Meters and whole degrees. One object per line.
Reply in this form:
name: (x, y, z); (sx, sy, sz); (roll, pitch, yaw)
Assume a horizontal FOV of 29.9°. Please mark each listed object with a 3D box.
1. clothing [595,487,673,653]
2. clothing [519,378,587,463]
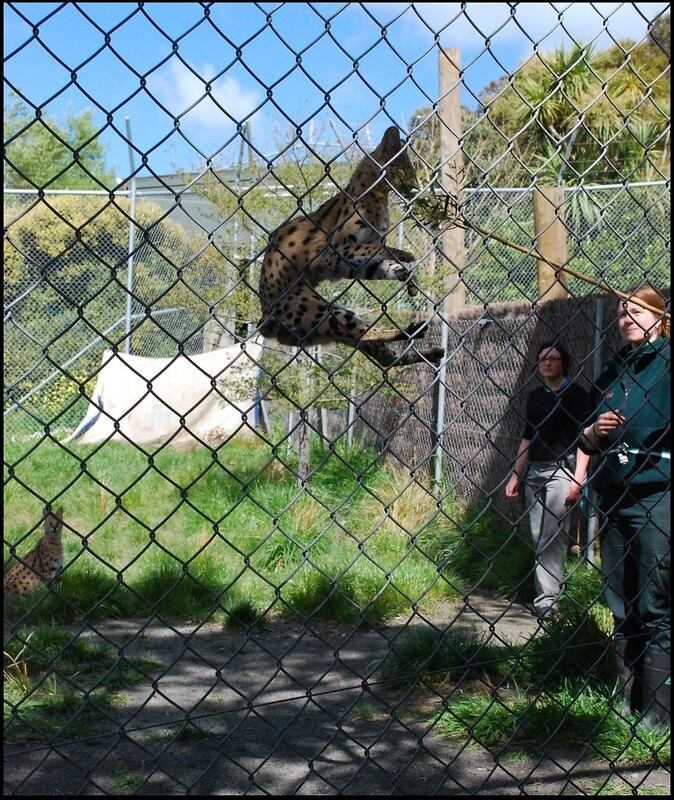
clothing: (1.469, 0.798, 6.098); (0.484, 0.760, 0.509); (1, 8, 7)
clothing: (1.392, 0.137, 8.009); (0.552, 0.649, 0.533); (2, 8, 8)
